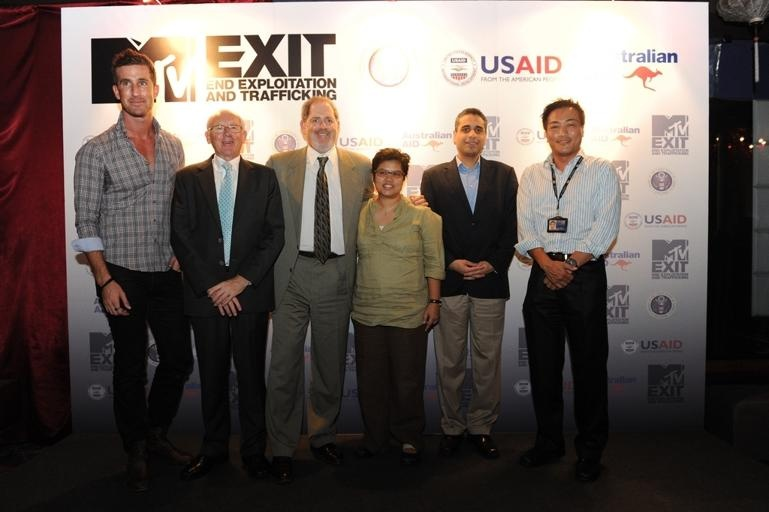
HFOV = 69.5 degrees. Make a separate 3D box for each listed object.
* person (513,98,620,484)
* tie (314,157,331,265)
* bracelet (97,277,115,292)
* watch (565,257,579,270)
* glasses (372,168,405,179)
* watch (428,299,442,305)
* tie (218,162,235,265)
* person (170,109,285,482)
[{"bbox_3d":[1.362,0.228,4.192,0.736,2.715,0.796,3,13,14],"label":"person"},{"bbox_3d":[-0.480,-0.359,4.239,0.124,0.766,0.253,-2,13,-6],"label":"tie"},{"bbox_3d":[-2.049,0.214,4.079,0.095,0.026,0.088,-35,17,-1],"label":"bracelet"},{"bbox_3d":[1.393,0.053,4.120,0.099,0.076,0.091,42,4,20],"label":"watch"},{"bbox_3d":[0.038,-0.629,4.205,0.235,0.072,0.097,0,14,0],"label":"glasses"},{"bbox_3d":[0.396,0.355,4.328,0.066,0.040,0.052,1,1,-3],"label":"watch"},{"bbox_3d":[-1.180,-0.302,4.157,0.095,0.797,0.105,0,-2,-8],"label":"tie"},{"bbox_3d":[-1.144,0.277,4.153,0.829,2.647,0.745,-3,13,-10],"label":"person"}]
